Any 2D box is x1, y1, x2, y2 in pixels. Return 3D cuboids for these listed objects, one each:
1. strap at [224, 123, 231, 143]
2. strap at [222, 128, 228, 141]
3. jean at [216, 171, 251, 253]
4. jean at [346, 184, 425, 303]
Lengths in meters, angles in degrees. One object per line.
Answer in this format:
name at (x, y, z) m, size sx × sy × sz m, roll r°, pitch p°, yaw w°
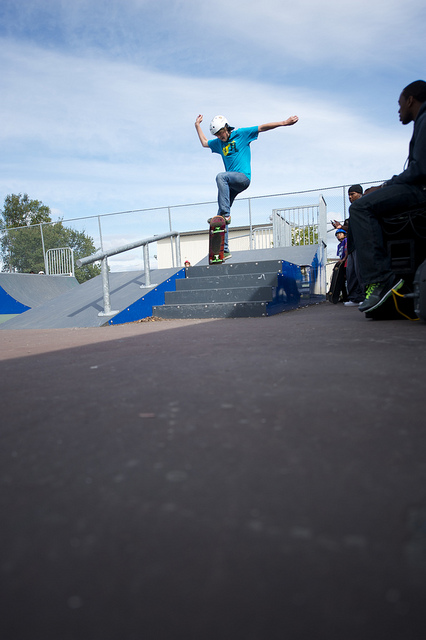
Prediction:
strap at (0.238, -2.836, 7.117) m, size 0.065 × 0.185 × 0.131 m, roll -9°, pitch 20°, yaw -43°
strap at (0.195, -2.808, 7.095) m, size 0.024 × 0.189 × 0.027 m, roll -29°, pitch 33°, yaw -18°
jean at (0.314, -1.619, 7.100) m, size 0.485 × 1.216 × 0.498 m, roll -1°, pitch 12°, yaw 2°
jean at (1.392, -0.618, 3.980) m, size 0.741 × 1.108 × 0.802 m, roll 2°, pitch 8°, yaw 21°
